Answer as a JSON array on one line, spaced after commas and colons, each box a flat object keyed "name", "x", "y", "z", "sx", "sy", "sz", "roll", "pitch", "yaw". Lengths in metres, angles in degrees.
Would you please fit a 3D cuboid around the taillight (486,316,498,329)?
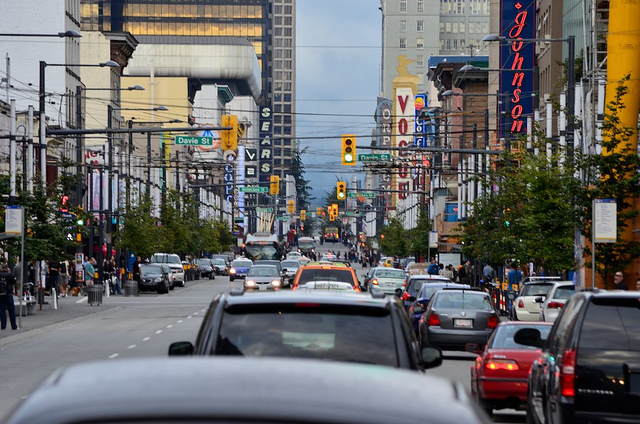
[{"name": "taillight", "x": 4.702, "y": 3.004, "z": 30.637, "sx": 0.143, "sy": 0.338, "sz": 0.478, "roll": 0, "pitch": 3, "yaw": 41}]

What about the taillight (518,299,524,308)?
[{"name": "taillight", "x": 6.821, "y": 3.108, "z": 38.164, "sx": 0.133, "sy": 0.267, "sz": 0.273, "roll": -2, "pitch": 2, "yaw": -11}]

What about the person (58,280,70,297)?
[{"name": "person", "x": -13.304, "y": 3.956, "z": 57.959, "sx": 0.495, "sy": 0.682, "sz": 2.090, "roll": 7, "pitch": -25, "yaw": -9}]

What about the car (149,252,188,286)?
[{"name": "car", "x": -9.602, "y": 3.623, "z": 72.388, "sx": 1.556, "sy": 1.405, "sz": 3.241, "roll": 0, "pitch": -8, "yaw": -2}]

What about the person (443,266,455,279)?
[{"name": "person", "x": 6.721, "y": 3.153, "z": 58.617, "sx": 0.455, "sy": 0.662, "sz": 0.843, "roll": -9, "pitch": 12, "yaw": -25}]

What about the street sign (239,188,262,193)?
[{"name": "street sign", "x": -9.153, "y": -2.929, "z": 145.827, "sx": 1.818, "sy": 0.465, "sz": 1.990, "roll": 0, "pitch": -2, "yaw": 1}]

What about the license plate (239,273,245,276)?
[{"name": "license plate", "x": -5.302, "y": 4.213, "z": 75.798, "sx": 0.191, "sy": 0.188, "sz": 0.106, "roll": 1, "pitch": -11, "yaw": -2}]

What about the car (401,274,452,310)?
[{"name": "car", "x": 3.541, "y": 2.627, "z": 38.742, "sx": 1.651, "sy": 1.437, "sz": 2.891, "roll": 0, "pitch": 3, "yaw": 2}]

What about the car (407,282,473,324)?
[{"name": "car", "x": 3.450, "y": 2.633, "z": 32.185, "sx": 1.418, "sy": 1.092, "sz": 3.122, "roll": -1, "pitch": 2, "yaw": 3}]

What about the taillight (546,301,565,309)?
[{"name": "taillight", "x": 7.423, "y": 2.931, "z": 35.339, "sx": 0.546, "sy": 0.235, "sz": 0.256, "roll": 0, "pitch": 3, "yaw": 45}]

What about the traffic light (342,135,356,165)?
[{"name": "traffic light", "x": 1.317, "y": -2.944, "z": 52.093, "sx": 0.625, "sy": 1.287, "sz": 1.131, "roll": -2, "pitch": 2, "yaw": 1}]

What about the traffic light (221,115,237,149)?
[{"name": "traffic light", "x": -3.917, "y": -3.459, "z": 48.208, "sx": 0.650, "sy": 1.447, "sz": 1.278, "roll": -2, "pitch": 2, "yaw": -5}]

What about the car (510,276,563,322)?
[{"name": "car", "x": 7.555, "y": 3.087, "z": 39.009, "sx": 1.667, "sy": 1.605, "sz": 3.124, "roll": 1, "pitch": 3, "yaw": 3}]

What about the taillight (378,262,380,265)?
[{"name": "taillight", "x": 5.090, "y": 4.464, "z": 97.097, "sx": 0.165, "sy": 0.114, "sz": 0.148, "roll": -3, "pitch": -4, "yaw": 14}]

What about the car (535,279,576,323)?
[{"name": "car", "x": 7.579, "y": 2.844, "z": 36.185, "sx": 1.159, "sy": 0.921, "sz": 2.110, "roll": 0, "pitch": 2, "yaw": -1}]

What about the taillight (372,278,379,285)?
[{"name": "taillight", "x": 2.296, "y": 2.912, "z": 46.821, "sx": 0.262, "sy": 0.230, "sz": 0.503, "roll": -2, "pitch": 2, "yaw": 2}]

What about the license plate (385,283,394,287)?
[{"name": "license plate", "x": 2.898, "y": 3.049, "z": 47.198, "sx": 0.390, "sy": 0.136, "sz": 0.124, "roll": -2, "pitch": 2, "yaw": -6}]

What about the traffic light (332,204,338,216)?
[{"name": "traffic light", "x": 1.847, "y": -0.423, "z": 150.159, "sx": 0.673, "sy": 1.266, "sz": 1.972, "roll": -2, "pitch": 2, "yaw": -5}]

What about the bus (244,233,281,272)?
[{"name": "bus", "x": -4.972, "y": 2.866, "z": 93.045, "sx": 2.109, "sy": 2.249, "sz": 3.878, "roll": -1, "pitch": -8, "yaw": -1}]
